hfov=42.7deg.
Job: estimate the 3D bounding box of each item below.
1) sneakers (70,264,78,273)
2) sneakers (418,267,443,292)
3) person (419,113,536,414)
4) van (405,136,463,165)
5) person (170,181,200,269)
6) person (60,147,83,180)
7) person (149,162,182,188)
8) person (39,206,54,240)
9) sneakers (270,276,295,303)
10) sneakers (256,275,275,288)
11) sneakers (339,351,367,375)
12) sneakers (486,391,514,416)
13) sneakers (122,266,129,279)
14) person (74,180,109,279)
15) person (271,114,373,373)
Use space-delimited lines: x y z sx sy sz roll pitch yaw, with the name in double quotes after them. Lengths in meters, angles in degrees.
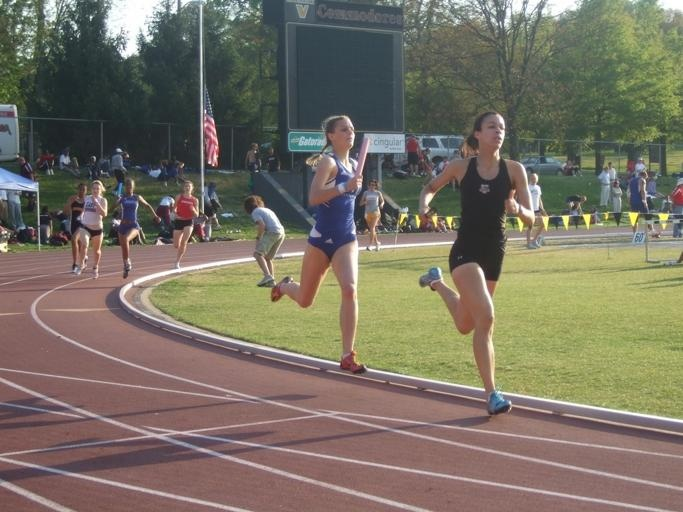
-5.640 0.265 18.300 0.178 0.229 0.528 2 0 -19 "sneakers"
0.951 0.251 9.512 0.138 0.148 0.306 -17 -23 -46 "sneakers"
1.323 0.072 8.804 0.981 2.985 0.706 3 9 34 "person"
4.871 -5.323 44.776 2.512 1.415 1.435 -13 17 0 "van"
-3.213 -0.674 17.818 0.676 1.654 0.550 6 -2 32 "person"
-10.855 -3.690 34.872 0.788 1.066 1.685 -4 8 -18 "person"
-6.934 -3.297 35.359 1.476 0.636 0.979 16 2 39 "person"
-8.911 -0.929 26.336 0.366 0.948 1.954 -4 9 -19 "person"
-0.733 0.357 10.275 0.192 0.155 0.480 -5 -26 -39 "sneakers"
-1.388 0.470 15.791 0.160 0.177 0.370 -3 0 -26 "sneakers"
0.125 1.154 9.428 0.270 0.281 0.255 0 8 12 "sneakers"
1.539 1.441 8.592 0.121 0.175 0.354 -5 8 7 "sneakers"
-4.293 0.328 17.389 0.107 0.319 0.141 2 3 -15 "sneakers"
-5.063 -0.504 17.659 0.596 1.987 1.058 2 -1 -6 "person"
-0.171 -0.125 9.534 0.694 2.733 1.124 -3 8 -14 "person"
